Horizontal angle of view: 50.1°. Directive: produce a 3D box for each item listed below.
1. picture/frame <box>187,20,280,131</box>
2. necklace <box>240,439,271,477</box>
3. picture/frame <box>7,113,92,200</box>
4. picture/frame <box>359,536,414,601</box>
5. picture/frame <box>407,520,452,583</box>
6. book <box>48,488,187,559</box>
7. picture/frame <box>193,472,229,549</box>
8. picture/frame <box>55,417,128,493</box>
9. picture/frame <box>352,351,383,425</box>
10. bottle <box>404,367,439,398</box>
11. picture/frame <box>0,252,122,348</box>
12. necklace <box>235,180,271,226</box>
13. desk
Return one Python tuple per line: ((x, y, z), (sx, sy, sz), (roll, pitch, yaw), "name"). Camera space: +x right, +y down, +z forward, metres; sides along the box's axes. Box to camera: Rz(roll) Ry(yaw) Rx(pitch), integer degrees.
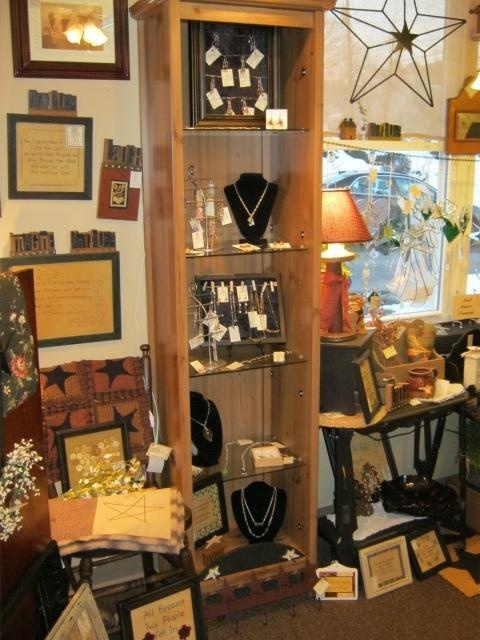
((-0.044, -0.966, 2.011), (0.454, 0.489, 0.049), (-6, 10, -29), "picture/frame")
((0.060, 0.619, 2.291), (0.145, 0.039, 0.160), (-3, 13, -15), "necklace")
((-0.722, -0.620, 1.904), (0.313, 0.323, 0.023), (-6, 15, -25), "picture/frame")
((0.659, 1.154, 2.365), (0.201, 0.190, 0.021), (-13, -1, -31), "picture/frame")
((0.906, 1.131, 2.493), (0.220, 0.214, 0.057), (-9, -12, -35), "picture/frame")
((-0.382, 0.635, 1.614), (0.333, 0.091, 0.257), (1, 27, -11), "book")
((-0.184, 0.911, 2.416), (0.286, 0.287, 0.016), (-34, -44, 22), "picture/frame")
((-0.580, 0.519, 1.949), (0.282, 0.290, 0.021), (-8, 5, -33), "picture/frame")
((0.563, 0.317, 2.301), (0.022, 0.310, 0.268), (-10, 8, 25), "picture/frame")
((0.878, 0.310, 2.567), (0.161, 0.149, 0.119), (-3, 3, -33), "bottle")
((-0.622, -0.085, 1.777), (0.362, 0.283, 0.015), (-6, 9, -34), "picture/frame")
((0.046, -0.505, 2.214), (0.192, 0.240, 0.040), (0, -3, -1), "necklace")
((0.731, 0.772, 2.584), (0.794, 0.794, 0.343), (-8, 13, -21), "desk")
